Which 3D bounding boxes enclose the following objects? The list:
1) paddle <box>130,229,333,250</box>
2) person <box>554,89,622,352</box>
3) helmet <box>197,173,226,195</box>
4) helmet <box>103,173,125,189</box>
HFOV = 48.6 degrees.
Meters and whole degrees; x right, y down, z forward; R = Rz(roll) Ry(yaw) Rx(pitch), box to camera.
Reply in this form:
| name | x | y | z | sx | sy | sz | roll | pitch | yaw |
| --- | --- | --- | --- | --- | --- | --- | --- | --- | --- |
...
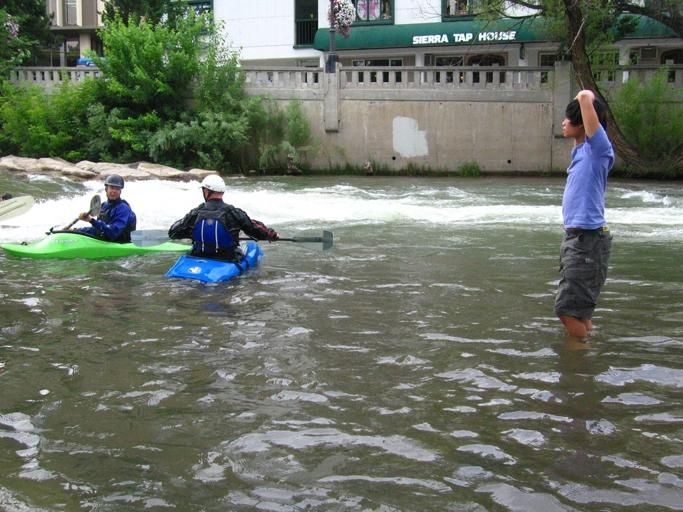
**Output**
| name | x | y | z | sx | sy | sz | roll | pitch | yaw |
| --- | --- | --- | --- | --- | --- | --- | --- | --- | --- |
| paddle | -1.674 | -0.219 | 10.766 | 2.828 | 0.328 | 0.404 | -1 | -1 | -11 |
| person | 2.261 | -0.330 | 7.003 | 0.495 | 2.362 | 0.570 | 1 | 11 | 17 |
| helmet | -1.751 | -0.924 | 9.825 | 0.323 | 0.163 | 0.417 | 1 | 7 | -43 |
| helmet | -3.227 | -1.048 | 10.713 | 0.264 | 0.194 | 0.296 | 4 | 12 | -25 |
